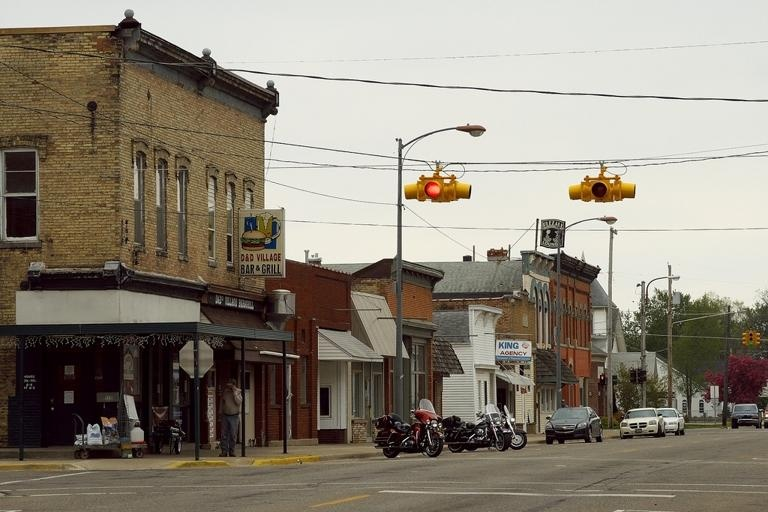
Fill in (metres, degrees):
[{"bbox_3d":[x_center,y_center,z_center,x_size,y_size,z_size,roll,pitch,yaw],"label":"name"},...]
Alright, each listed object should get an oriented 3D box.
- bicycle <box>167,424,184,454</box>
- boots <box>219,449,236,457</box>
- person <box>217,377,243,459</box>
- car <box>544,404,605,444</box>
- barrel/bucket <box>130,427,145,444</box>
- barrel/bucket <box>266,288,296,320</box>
[{"bbox_3d":[-6.947,6.212,55.069,0.481,1.104,1.857,-1,-12,-7],"label":"bicycle"},{"bbox_3d":[-5.064,6.471,53.713,0.673,0.269,0.201,-3,-1,7],"label":"boots"},{"bbox_3d":[-5.057,5.306,53.960,0.816,2.506,0.766,-1,-5,44],"label":"person"},{"bbox_3d":[8.293,7.371,71.207,1.965,1.777,2.231,-7,-13,21],"label":"car"},{"bbox_3d":[-7.921,5.768,52.880,0.579,0.599,0.456,1,5,2],"label":"barrel/bucket"},{"bbox_3d":[-3.779,1.845,61.767,0.447,1.134,1.156,-12,-16,41],"label":"barrel/bucket"}]
